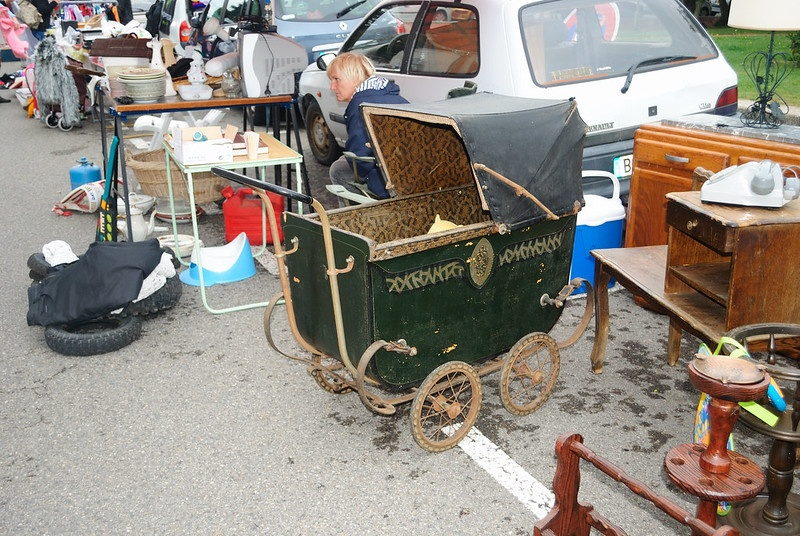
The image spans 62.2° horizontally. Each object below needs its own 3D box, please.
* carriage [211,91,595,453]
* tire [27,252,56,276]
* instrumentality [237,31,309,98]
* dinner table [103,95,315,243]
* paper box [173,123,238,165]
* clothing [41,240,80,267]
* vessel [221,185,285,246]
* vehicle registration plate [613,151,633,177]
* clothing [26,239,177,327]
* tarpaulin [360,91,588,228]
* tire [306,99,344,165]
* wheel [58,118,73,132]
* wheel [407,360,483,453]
[{"bbox_3d":[0.289,-0.461,5.431,3.113,2.589,1.876,-21,31,-33],"label":"carriage"},{"bbox_3d":[-3.343,-0.035,6.178,0.298,0.104,0.192,25,30,37],"label":"tire"},{"bbox_3d":[-1.526,-2.358,7.448,0.985,0.679,0.947,1,31,-11],"label":"instrumentality"},{"bbox_3d":[-2.069,-1.096,6.884,2.059,1.368,1.232,-5,7,-7],"label":"dinner table"},{"bbox_3d":[-1.769,-1.081,5.960,0.429,0.258,0.419,-11,23,-28],"label":"paper box"},{"bbox_3d":[-3.186,-0.095,6.186,0.366,0.139,0.239,26,37,38],"label":"clothing"},{"bbox_3d":[-1.488,-0.460,7.183,0.752,0.720,0.472,1,-5,20],"label":"vessel"},{"bbox_3d":[2.054,-0.962,6.178,0.292,0.198,0.030,-11,16,-35],"label":"vehicle registration plate"},{"bbox_3d":[-2.522,0.291,5.703,0.937,0.333,0.764,-23,48,-15],"label":"clothing"},{"bbox_3d":[0.614,-0.844,4.590,1.172,0.765,1.149,-21,29,-33],"label":"tarpaulin"},{"bbox_3d":[-1.038,-1.933,9.499,0.344,0.895,0.912,-15,25,-25],"label":"tire"},{"bbox_3d":[-6.253,-2.673,12.405,0.246,0.236,0.448,-14,28,-24],"label":"wheel"},{"bbox_3d":[0.323,0.929,4.427,0.630,0.603,0.170,-8,16,-38],"label":"wheel"}]
